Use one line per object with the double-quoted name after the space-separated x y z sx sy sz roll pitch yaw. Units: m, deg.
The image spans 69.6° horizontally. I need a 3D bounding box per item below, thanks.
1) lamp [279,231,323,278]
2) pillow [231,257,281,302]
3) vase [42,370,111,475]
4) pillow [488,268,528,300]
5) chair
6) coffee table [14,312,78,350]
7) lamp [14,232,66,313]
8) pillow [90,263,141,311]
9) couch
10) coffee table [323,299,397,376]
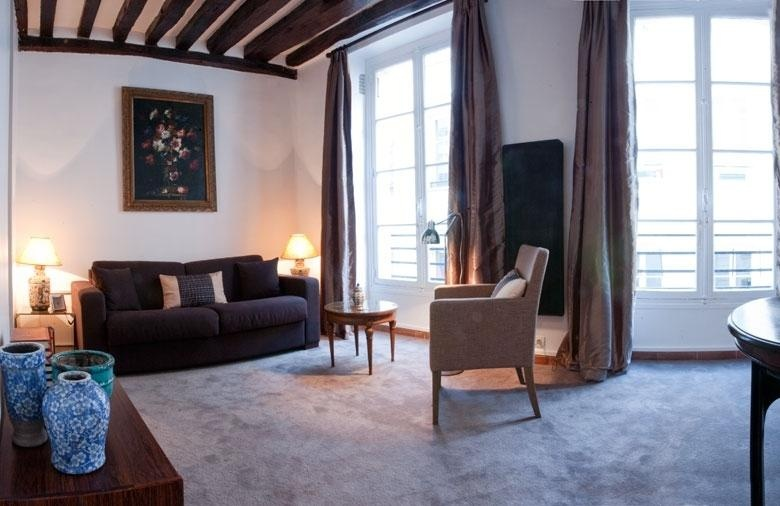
-1.101 -0.025 6.928 0.495 0.694 0.517 -3 7 -16 "lamp"
-1.505 0.297 6.236 0.451 0.423 0.162 -2 -24 -18 "pillow"
-1.546 0.862 2.780 0.269 0.469 0.153 -5 5 -33 "vase"
0.955 0.265 4.475 0.167 0.175 0.442 28 0 -1 "pillow"
0.783 0.609 4.610 0.909 1.298 0.969 -2 4 5 "chair"
-3.401 0.710 5.667 0.496 0.347 0.288 3 11 -19 "coffee table"
-3.584 0.203 5.741 0.358 0.758 0.485 -5 4 -32 "lamp"
-2.705 0.329 5.554 0.134 0.436 0.461 -24 -6 20 "pillow"
-1.956 0.587 5.773 2.224 1.018 0.926 -4 4 -30 "couch"
-0.273 0.798 5.464 0.713 0.591 0.729 -1 6 2 "coffee table"
